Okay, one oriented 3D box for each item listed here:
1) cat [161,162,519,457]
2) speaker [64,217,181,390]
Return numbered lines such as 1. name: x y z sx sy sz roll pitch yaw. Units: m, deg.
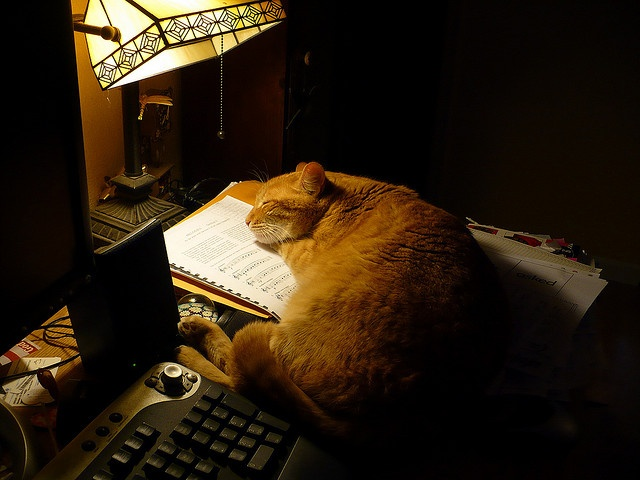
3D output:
1. cat: 0.004 0.054 0.972 0.575 0.186 0.553 29 46 30
2. speaker: -0.350 0.124 0.894 0.134 0.284 0.199 4 22 17
